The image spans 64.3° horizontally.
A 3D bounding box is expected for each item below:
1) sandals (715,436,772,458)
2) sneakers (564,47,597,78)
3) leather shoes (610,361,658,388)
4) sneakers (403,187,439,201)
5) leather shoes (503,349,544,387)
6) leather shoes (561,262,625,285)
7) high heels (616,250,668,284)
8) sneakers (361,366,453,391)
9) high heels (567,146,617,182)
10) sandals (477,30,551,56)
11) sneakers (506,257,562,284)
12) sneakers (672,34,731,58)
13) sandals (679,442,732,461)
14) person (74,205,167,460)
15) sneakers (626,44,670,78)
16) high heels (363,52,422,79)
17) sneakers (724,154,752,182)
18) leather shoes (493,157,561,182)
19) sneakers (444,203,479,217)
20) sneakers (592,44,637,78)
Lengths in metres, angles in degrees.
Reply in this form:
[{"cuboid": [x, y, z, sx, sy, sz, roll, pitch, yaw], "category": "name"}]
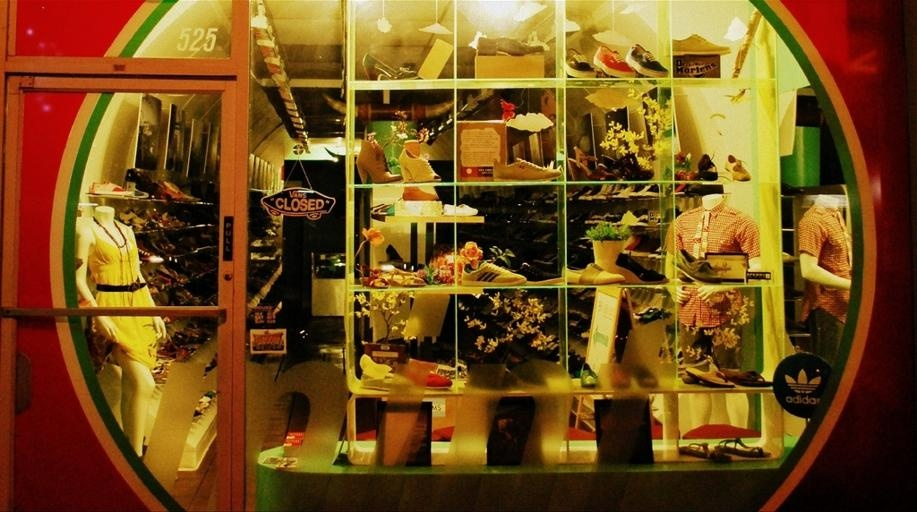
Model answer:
[{"cuboid": [2.043, 1.388, 5.282, 0.258, 0.085, 0.151, -2, 0, 3], "category": "sandals"}, {"cuboid": [0.865, -1.427, 5.397, 0.145, 0.089, 0.261, -14, 47, -43], "category": "sneakers"}, {"cuboid": [1.242, 0.855, 5.272, 0.446, 0.125, 0.156, -2, 41, -2], "category": "leather shoes"}, {"cuboid": [-0.310, -0.459, 5.412, 0.317, 0.109, 0.097, -2, 0, -8], "category": "sneakers"}, {"cuboid": [0.480, 0.807, 5.341, 0.289, 0.176, 0.264, 8, 21, 3], "category": "leather shoes"}, {"cuboid": [0.994, 0.134, 5.406, 0.440, 0.135, 0.164, -2, -9, 10], "category": "leather shoes"}, {"cuboid": [1.401, 0.098, 5.322, 0.467, 0.154, 0.161, 21, 15, 2], "category": "high heels"}, {"cuboid": [-0.367, 0.900, 5.278, 0.642, 0.130, 0.100, 4, 22, -5], "category": "sneakers"}, {"cuboid": [0.978, -0.659, 5.398, 0.504, 0.174, 0.160, 8, 2, 15], "category": "high heels"}, {"cuboid": [0.425, -1.593, 5.498, 0.641, 0.193, 0.200, -2, 7, -5], "category": "sandals"}, {"cuboid": [0.590, 0.119, 5.494, 0.469, 0.141, 0.157, -1, -2, 2], "category": "sneakers"}, {"cuboid": [1.770, -1.552, 5.413, 0.500, 0.151, 0.155, 0, 4, -2], "category": "sneakers"}, {"cuboid": [1.785, 1.412, 5.275, 0.349, 0.077, 0.130, 0, 4, 17], "category": "sandals"}, {"cuboid": [-2.351, 0.515, 5.144, 0.453, 1.612, 0.873, -10, 28, -36], "category": "person"}, {"cuboid": [1.379, -1.426, 5.422, 0.353, 0.128, 0.180, 34, 42, 11], "category": "sneakers"}, {"cuboid": [-0.526, -1.404, 5.451, 0.541, 0.157, 0.206, -4, -28, 0], "category": "high heels"}, {"cuboid": [2.055, -0.647, 5.412, 0.087, 0.168, 0.210, -14, 30, -42], "category": "sneakers"}, {"cuboid": [0.469, -0.640, 5.349, 0.570, 0.172, 0.169, 0, 2, -1], "category": "leather shoes"}, {"cuboid": [0.014, -0.338, 5.421, 0.259, 0.075, 0.091, -1, 2, -11], "category": "sneakers"}, {"cuboid": [1.130, -1.419, 5.417, 0.335, 0.168, 0.115, 34, -12, 14], "category": "sneakers"}]
